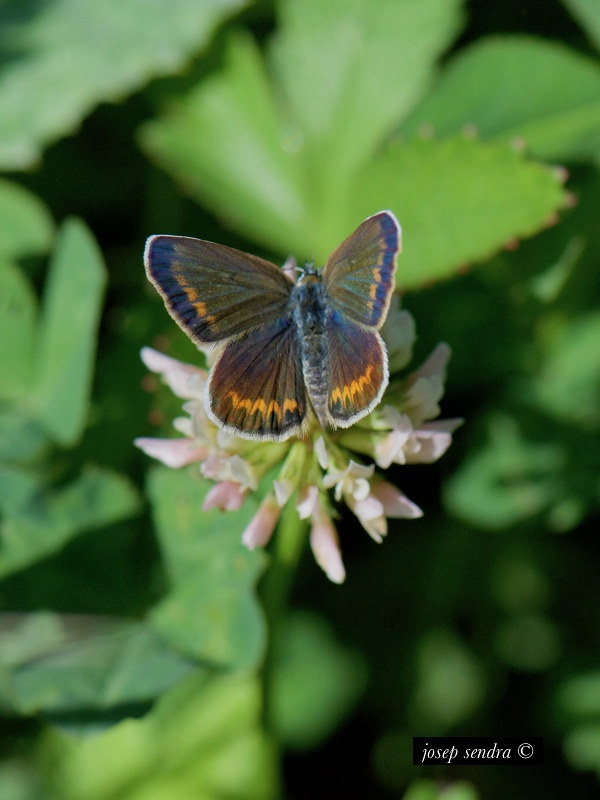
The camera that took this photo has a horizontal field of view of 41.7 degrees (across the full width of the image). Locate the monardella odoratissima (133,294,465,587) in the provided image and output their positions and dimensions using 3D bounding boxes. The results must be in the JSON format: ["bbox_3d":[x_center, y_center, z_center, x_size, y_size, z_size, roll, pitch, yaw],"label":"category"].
[{"bbox_3d":[0.022,0.062,0.788,0.369,0.106,0.318,3,84,-2],"label":"monardella odoratissima"}]

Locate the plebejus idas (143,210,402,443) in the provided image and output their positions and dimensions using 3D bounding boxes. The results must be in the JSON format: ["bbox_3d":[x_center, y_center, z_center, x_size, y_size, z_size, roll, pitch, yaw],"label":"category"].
[{"bbox_3d":[-0.003,-0.070,0.786,0.234,0.210,0.203,-15,72,2],"label":"plebejus idas"}]
